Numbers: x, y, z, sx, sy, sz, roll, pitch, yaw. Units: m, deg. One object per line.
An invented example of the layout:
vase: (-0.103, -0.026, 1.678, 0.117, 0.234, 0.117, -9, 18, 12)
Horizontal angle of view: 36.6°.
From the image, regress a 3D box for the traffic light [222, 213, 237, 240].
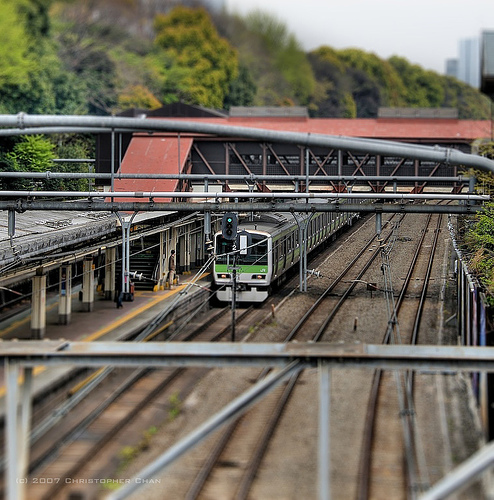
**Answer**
traffic light: (-0.383, -0.509, 15.932, 0.323, 0.559, 0.364, -1, 3, 5)

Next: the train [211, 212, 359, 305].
train: (1.098, -0.111, 28.207, 2.041, 3.140, 14.895, -1, 4, 9)
